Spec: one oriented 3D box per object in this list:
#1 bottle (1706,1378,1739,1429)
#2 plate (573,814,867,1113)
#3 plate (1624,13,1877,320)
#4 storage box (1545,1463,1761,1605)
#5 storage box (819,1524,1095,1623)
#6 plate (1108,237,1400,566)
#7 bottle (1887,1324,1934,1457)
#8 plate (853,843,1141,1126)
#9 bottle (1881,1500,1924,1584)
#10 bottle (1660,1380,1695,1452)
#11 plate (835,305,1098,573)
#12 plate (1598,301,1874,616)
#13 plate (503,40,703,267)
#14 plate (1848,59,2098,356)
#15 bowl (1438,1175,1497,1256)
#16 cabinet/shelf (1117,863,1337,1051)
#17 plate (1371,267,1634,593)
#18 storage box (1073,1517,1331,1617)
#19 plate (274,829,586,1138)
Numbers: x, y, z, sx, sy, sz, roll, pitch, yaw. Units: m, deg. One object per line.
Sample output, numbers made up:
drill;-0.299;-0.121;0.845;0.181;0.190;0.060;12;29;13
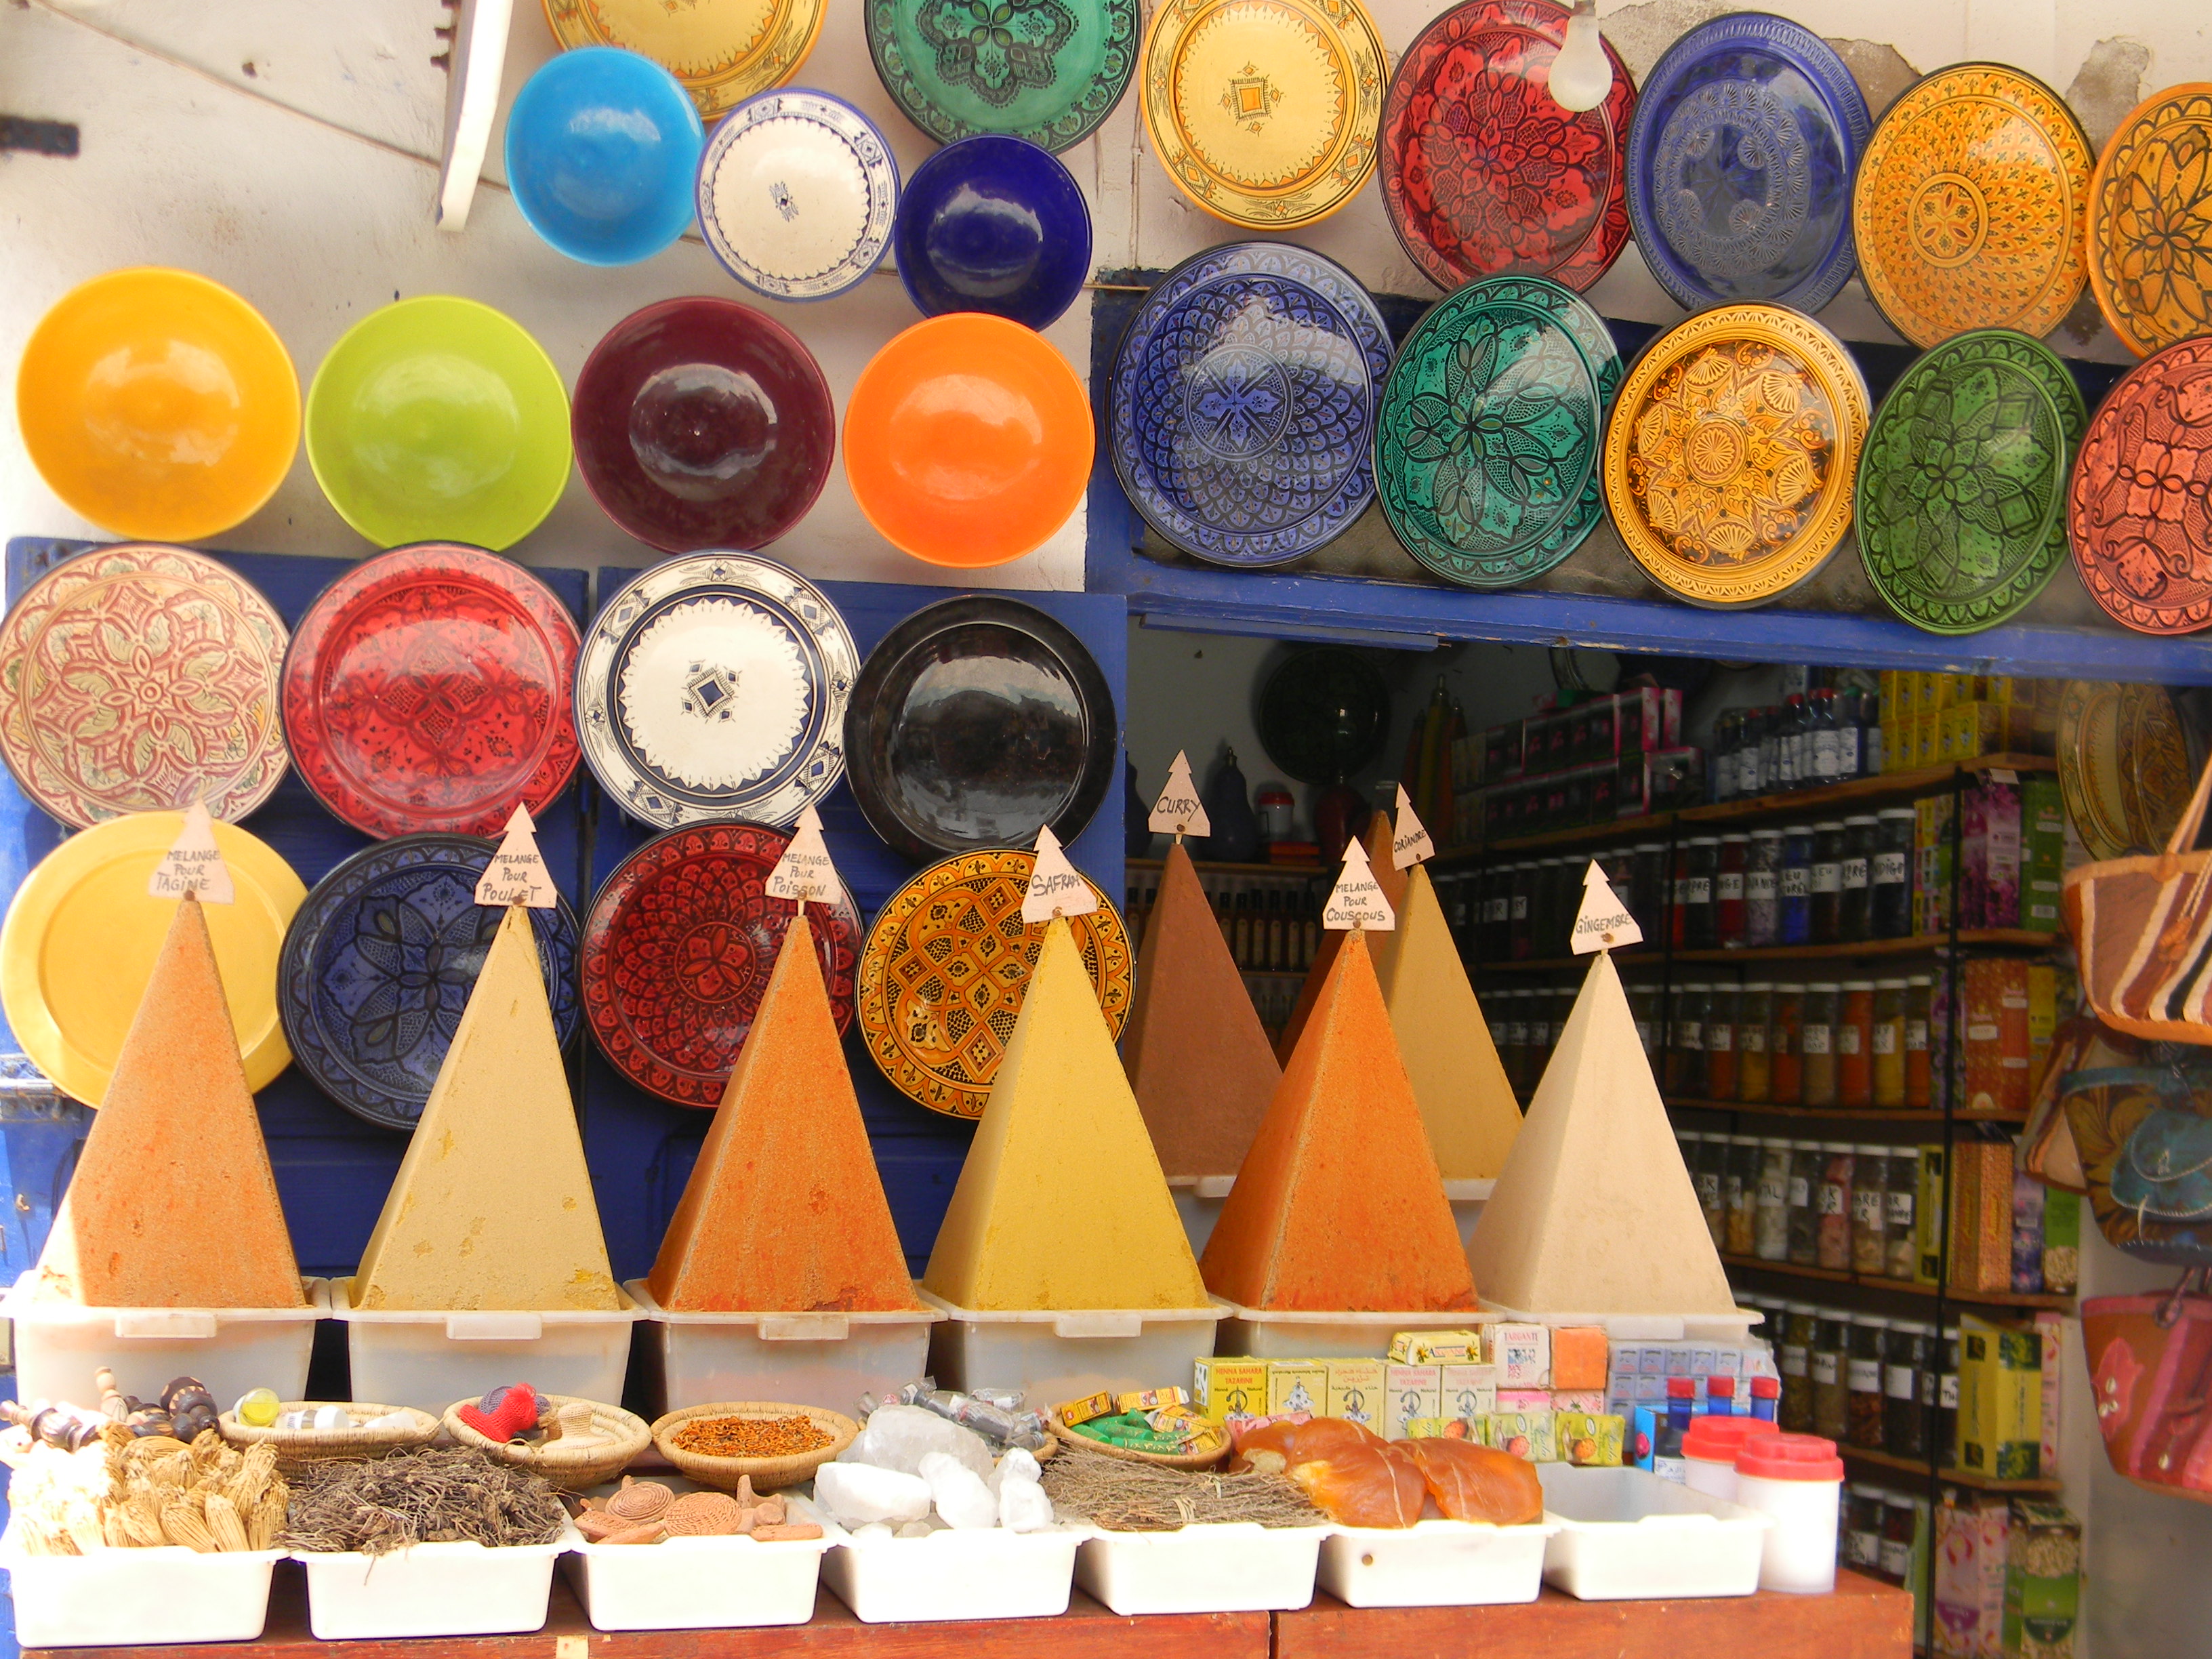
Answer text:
bottle;0.958;0.909;3.315;0.045;0.099;0.052;1;-11;0
plate;-0.686;0.217;3.489;0.337;0.397;0.219;6;-27;-11
plate;1.217;-1.277;4.065;0.507;0.497;0.259;6;-27;-10
storage box;0.782;0.975;3.092;0.217;0.090;0.266;21;-5;0
storage box;-0.188;0.952;2.706;0.303;0.112;0.072;6;-27;-9
plate;0.264;-0.775;3.859;0.491;0.472;0.302;0;-27;0
bottle;1.973;1.397;5.240;0.072;0.264;0.232;4;-28;-7
plate;-0.266;0.263;3.629;0.306;0.409;0.216;2;-26;-4
bottle;1.956;1.748;5.209;0.029;0.175;0.151;12;-30;-24
bottle;0.886;0.914;3.304;0.055;0.108;0.054;0;-26;0
plate;-0.241;-0.624;3.759;0.447;0.159;0.534;-7;-31;9
plate;1.198;-0.711;4.043;0.537;0.455;0.296;6;-27;-10
plate;-0.824;-1.123;3.538;0.328;0.235;0.238;14;-31;-23
plate;1.685;-1.229;4.172;0.487;0.428;0.306;0;-27;0
bowl;0.656;0.661;3.790;0.094;0.124;0.027;7;-26;-15
cabinet/shelf;0.475;0.348;6.284;0.491;0.631;0.355;1;-2;-13
plate;0.731;-0.746;3.959;0.474;0.451;0.312;0;-27;0
storage box;0.132;0.959;2.772;0.172;0.072;0.167;2;-8;-8
plate;-1.094;0.204;3.365;0.397;0.460;0.105;-2;-49;31
